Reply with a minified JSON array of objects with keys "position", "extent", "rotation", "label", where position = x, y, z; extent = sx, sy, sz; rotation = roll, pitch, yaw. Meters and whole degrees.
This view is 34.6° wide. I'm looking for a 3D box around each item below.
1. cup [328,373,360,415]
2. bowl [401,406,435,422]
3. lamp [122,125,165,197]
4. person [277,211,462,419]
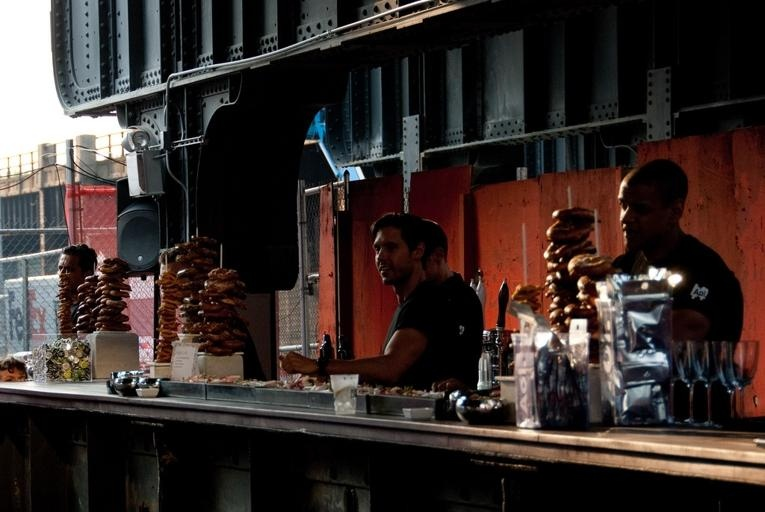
[{"position":[-0.229,0.808,7.311],"extent":[0.278,0.236,0.277],"rotation":[1,-3,0],"label":"cup"},{"position":[0.205,0.893,6.989],"extent":[0.172,0.076,0.078],"rotation":[-5,-8,32],"label":"bowl"},{"position":[-1.929,-0.789,9.882],"extent":[0.253,0.612,0.473],"rotation":[2,-7,-23],"label":"lamp"},{"position":[-0.037,0.388,8.215],"extent":[1.315,1.334,0.844],"rotation":[-2,-2,-44],"label":"person"}]
